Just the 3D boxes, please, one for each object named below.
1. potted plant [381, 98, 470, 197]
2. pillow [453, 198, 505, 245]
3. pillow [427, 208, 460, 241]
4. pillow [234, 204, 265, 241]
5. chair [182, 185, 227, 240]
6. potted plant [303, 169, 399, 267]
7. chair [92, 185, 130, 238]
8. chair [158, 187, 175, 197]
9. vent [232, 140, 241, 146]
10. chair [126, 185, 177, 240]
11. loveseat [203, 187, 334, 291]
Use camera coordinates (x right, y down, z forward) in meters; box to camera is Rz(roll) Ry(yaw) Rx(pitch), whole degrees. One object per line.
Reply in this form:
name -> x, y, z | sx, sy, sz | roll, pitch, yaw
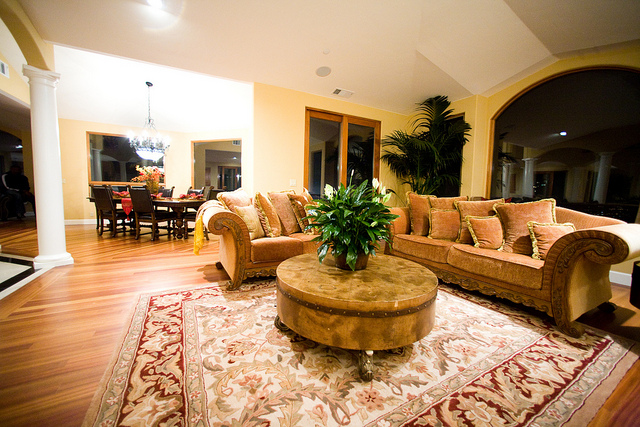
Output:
potted plant -> 2.032, -1.226, 7.380 | 0.800, 1.822, 1.515 | -10, 17, -37
pillow -> 2.190, 0.100, 5.617 | 0.700, 0.662, 0.207 | -1, -24, 27
pillow -> 1.836, 0.168, 5.792 | 0.476, 0.450, 0.144 | 4, -2, 15
pillow -> -1.002, 0.129, 5.516 | 0.172, 0.404, 0.346 | -9, -30, -5
chair -> -2.587, -0.043, 8.096 | 0.798, 1.036, 0.731 | 1, 4, -15
potted plant -> 0.358, 0.124, 5.113 | 1.337, 1.099, 1.344 | -3, 15, -3
chair -> -4.152, -0.030, 7.782 | 0.561, 0.740, 0.677 | 15, -5, -26
chair -> -3.636, -0.509, 9.308 | 0.336, 0.379, 0.303 | -2, 7, -30
vent -> -2.513, -2.140, 11.881 | 0.218, 0.175, 0.919 | -2, 13, -13
chair -> -3.214, -0.075, 7.605 | 0.737, 1.023, 0.817 | 3, 10, 40
loveseat -> -0.653, 0.327, 5.964 | 2.119, 1.356, 0.957 | -2, 3, -32
